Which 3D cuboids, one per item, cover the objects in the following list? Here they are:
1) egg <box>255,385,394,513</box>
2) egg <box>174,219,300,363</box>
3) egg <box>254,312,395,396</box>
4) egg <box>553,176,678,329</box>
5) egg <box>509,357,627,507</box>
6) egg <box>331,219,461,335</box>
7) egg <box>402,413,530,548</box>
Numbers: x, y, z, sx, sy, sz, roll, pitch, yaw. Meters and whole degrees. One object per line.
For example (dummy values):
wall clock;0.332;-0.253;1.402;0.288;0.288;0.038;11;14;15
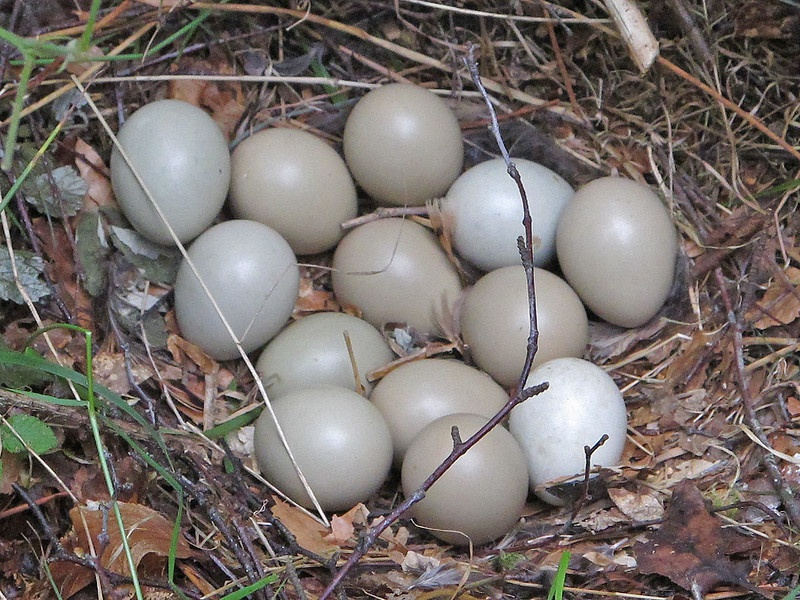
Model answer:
egg;-0.144;0.284;1.603;0.258;0.226;0.259;-4;101;1
egg;-0.336;-0.049;1.742;0.218;0.222;0.279;39;105;-24
egg;-0.164;0.111;1.690;0.219;0.147;0.168;-15;45;-13
egg;0.473;-0.108;1.834;0.217;0.239;0.329;-13;89;7
egg;0.367;0.272;1.734;0.230;0.262;0.339;-7;83;27
egg;-0.005;-0.053;1.871;0.279;0.212;0.215;38;105;-4
egg;0.122;0.349;1.553;0.247;0.208;0.226;19;62;11
